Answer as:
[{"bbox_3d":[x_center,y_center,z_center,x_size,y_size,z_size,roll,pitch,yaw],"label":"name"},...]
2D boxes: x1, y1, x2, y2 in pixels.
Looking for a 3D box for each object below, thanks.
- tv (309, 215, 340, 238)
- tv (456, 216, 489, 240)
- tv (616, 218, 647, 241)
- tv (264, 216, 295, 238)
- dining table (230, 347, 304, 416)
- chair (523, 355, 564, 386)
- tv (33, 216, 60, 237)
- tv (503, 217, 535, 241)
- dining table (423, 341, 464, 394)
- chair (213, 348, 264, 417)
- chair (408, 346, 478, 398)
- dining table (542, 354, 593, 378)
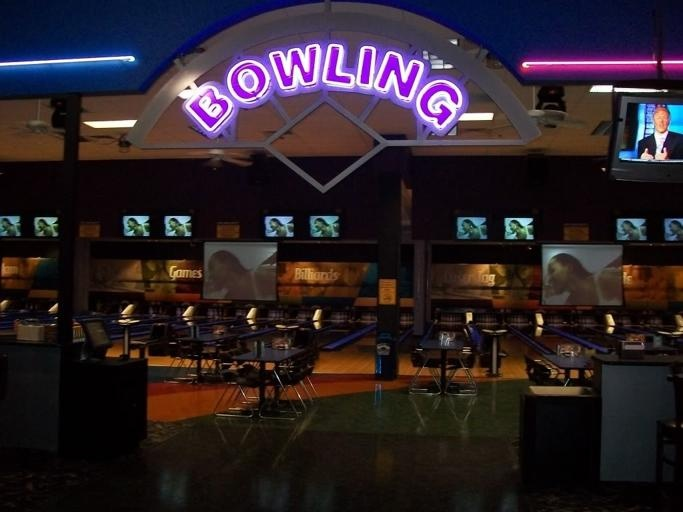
[{"bbox_3d":[-0.366,-0.688,15.180,0.987,0.538,0.483,1,3,8],"label":"tv"},{"bbox_3d":[2.877,-0.619,14.334,0.638,0.361,0.080,0,1,6],"label":"tv"},{"bbox_3d":[6.275,-0.594,14.107,0.596,0.397,0.058,1,3,5],"label":"tv"},{"bbox_3d":[-1.410,-0.686,15.322,1.004,0.558,0.489,1,3,6],"label":"tv"},{"bbox_3d":[-1.040,1.861,9.288,0.930,0.738,1.668,1,-2,8],"label":"dining table"},{"bbox_3d":[3.034,1.726,9.806,0.379,0.361,1.031,-2,1,-1],"label":"chair"},{"bbox_3d":[-7.344,-0.742,16.204,0.634,0.469,0.311,1,4,0],"label":"tv"},{"bbox_3d":[3.894,-0.598,14.267,0.633,0.372,0.075,0,3,9],"label":"tv"},{"bbox_3d":[1.649,1.778,10.643,0.911,0.718,0.836,1,-1,14],"label":"dining table"},{"bbox_3d":[-1.494,1.871,9.547,0.485,0.560,1.101,0,0,5],"label":"chair"},{"bbox_3d":[1.739,2.157,11.073,1.033,0.568,1.310,0,-1,8],"label":"chair"},{"bbox_3d":[3.123,1.572,9.063,0.605,0.360,1.421,-1,-3,18],"label":"dining table"}]
